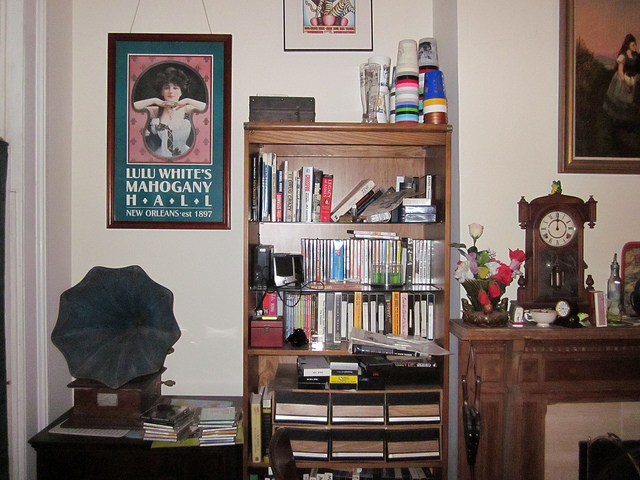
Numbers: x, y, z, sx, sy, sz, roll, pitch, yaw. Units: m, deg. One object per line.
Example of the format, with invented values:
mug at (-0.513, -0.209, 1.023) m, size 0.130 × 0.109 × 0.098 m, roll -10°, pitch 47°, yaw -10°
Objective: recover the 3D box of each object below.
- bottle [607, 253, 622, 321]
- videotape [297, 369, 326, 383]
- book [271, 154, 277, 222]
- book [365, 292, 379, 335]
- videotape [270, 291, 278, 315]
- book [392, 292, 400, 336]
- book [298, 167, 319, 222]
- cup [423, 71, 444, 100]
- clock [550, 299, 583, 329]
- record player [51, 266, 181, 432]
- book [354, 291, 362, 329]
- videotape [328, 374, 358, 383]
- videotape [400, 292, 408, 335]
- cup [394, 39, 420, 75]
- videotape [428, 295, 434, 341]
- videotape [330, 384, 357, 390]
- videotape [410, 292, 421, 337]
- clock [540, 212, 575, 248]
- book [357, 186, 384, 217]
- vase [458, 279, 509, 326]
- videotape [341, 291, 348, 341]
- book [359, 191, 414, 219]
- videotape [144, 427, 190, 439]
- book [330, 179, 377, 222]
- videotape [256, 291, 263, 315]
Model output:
bottle at (1.822, 0.284, 4.279) m, size 0.083 × 0.406 × 0.233 m, roll -1°, pitch -1°, yaw 23°
videotape at (-0.047, 0.814, 4.157) m, size 0.169 × 0.076 × 0.057 m, roll -1°, pitch -1°, yaw 7°
book at (-0.278, -0.319, 4.292) m, size 0.029 × 0.401 × 0.036 m, roll 0°, pitch -1°, yaw -8°
book at (0.330, 0.449, 4.305) m, size 0.075 × 0.249 × 0.024 m, roll 0°, pitch -1°, yaw -9°
videotape at (-0.283, 0.385, 4.260) m, size 0.044 × 0.142 × 0.021 m, roll 0°, pitch -1°, yaw -19°
book at (0.474, 0.452, 4.300) m, size 0.043 × 0.257 × 0.017 m, roll 0°, pitch -1°, yaw -4°
book at (-0.067, -0.281, 4.316) m, size 0.103 × 0.298 × 0.298 m, roll 1°, pitch 5°, yaw 3°
cup at (0.683, -0.931, 4.165) m, size 0.141 × 0.166 × 0.146 m, roll 2°, pitch 4°, yaw 0°
clock at (1.480, 0.426, 4.131) m, size 0.111 × 0.144 × 0.112 m, roll 1°, pitch 1°, yaw -20°
record player at (-1.230, 0.657, 4.173) m, size 0.732 × 0.993 × 0.326 m, roll 0°, pitch -1°, yaw -20°
book at (0.240, 0.434, 4.308) m, size 0.048 × 0.225 × 0.013 m, roll 0°, pitch -1°, yaw -7°
videotape at (0.139, 0.827, 4.145) m, size 0.176 × 0.051 × 0.014 m, roll -1°, pitch -1°, yaw -1°
videotape at (0.522, 0.458, 4.318) m, size 0.060 × 0.290 × 0.039 m, roll 3°, pitch 17°, yaw 16°
cup at (0.536, -1.119, 4.248) m, size 0.149 × 0.209 × 0.096 m, roll -1°, pitch -1°, yaw 7°
videotape at (0.691, 0.477, 4.295) m, size 0.039 × 0.275 × 0.011 m, roll -1°, pitch -1°, yaw 0°
videotape at (0.143, 0.877, 4.145) m, size 0.161 × 0.032 × 0.008 m, roll -1°, pitch -1°, yaw 0°
videotape at (0.605, 0.459, 4.298) m, size 0.046 × 0.269 × 0.021 m, roll -1°, pitch -1°, yaw 5°
clock at (1.463, -0.071, 4.268) m, size 0.204 × 0.225 × 0.023 m, roll 0°, pitch 3°, yaw 8°
book at (0.312, -0.236, 4.348) m, size 0.235 × 0.068 × 0.042 m, roll -48°, pitch 16°, yaw -16°
vase at (1.007, 0.385, 4.219) m, size 0.302 × 0.295 × 0.313 m, roll -3°, pitch -4°, yaw 39°
videotape at (0.154, 0.476, 4.318) m, size 0.041 × 0.302 × 0.029 m, roll -1°, pitch -1°, yaw 1°
book at (0.409, -0.234, 4.315) m, size 0.348 × 0.032 × 0.137 m, roll -35°, pitch 40°, yaw -22°
videotape at (-0.909, 1.156, 4.132) m, size 0.252 × 0.047 × 0.067 m, roll -1°, pitch -1°, yaw -12°
book at (0.215, -0.265, 4.377) m, size 0.235 × 0.269 × 0.181 m, roll 3°, pitch 6°, yaw 1°
videotape at (-0.375, 0.387, 4.307) m, size 0.039 × 0.141 × 0.109 m, roll 0°, pitch -1°, yaw -5°
